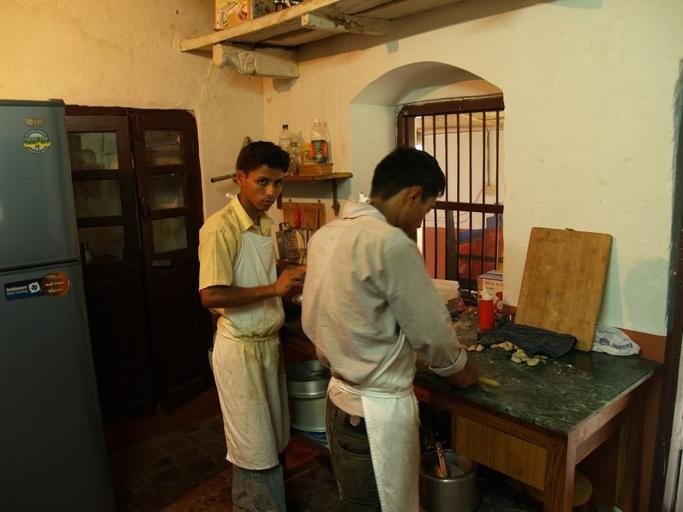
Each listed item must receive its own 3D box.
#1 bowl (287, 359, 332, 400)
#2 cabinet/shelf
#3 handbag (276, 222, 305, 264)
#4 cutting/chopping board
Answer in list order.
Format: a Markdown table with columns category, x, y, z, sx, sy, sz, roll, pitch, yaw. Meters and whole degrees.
| category | x | y | z | sx | sy | sz | roll | pitch | yaw |
| --- | --- | --- | --- | --- | --- | --- | --- | --- | --- |
| bowl | -0.208 | 0.750 | 3.295 | 0.244 | 0.233 | 0.239 | -5 | 8 | 1 |
| cabinet/shelf | -1.533 | 0.065 | 4.063 | 0.924 | 2.208 | 0.284 | -8 | 9 | -28 |
| handbag | -0.404 | -0.103 | 4.325 | 0.264 | 0.274 | 0.150 | -7 | 8 | 35 |
| cutting/chopping board | 1.171 | 0.187 | 2.789 | 0.528 | 0.840 | 0.060 | 9 | 5 | 43 |
